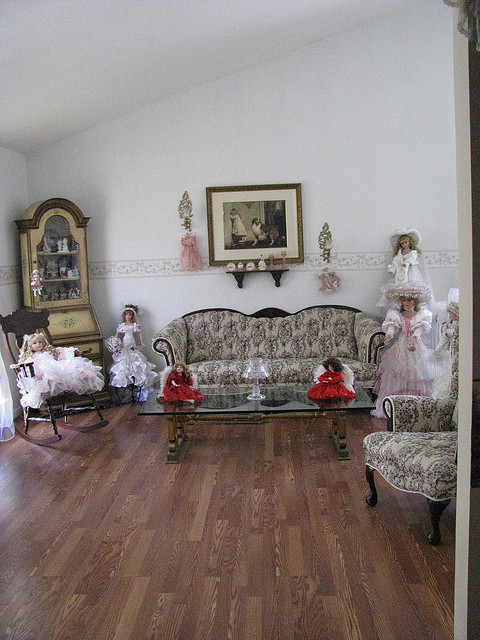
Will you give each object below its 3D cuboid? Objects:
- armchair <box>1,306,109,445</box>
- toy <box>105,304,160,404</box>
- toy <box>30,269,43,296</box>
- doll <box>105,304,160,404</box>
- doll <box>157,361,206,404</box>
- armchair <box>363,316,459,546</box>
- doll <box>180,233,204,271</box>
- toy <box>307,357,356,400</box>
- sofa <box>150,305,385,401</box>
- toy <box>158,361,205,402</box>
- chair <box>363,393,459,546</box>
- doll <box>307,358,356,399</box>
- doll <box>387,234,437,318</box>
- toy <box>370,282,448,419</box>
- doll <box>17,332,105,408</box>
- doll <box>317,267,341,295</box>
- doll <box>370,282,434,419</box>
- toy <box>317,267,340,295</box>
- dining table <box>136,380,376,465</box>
[{"bbox_3d":[-1.703,0.554,4.172,0.862,1.275,0.874,1,9,-7],"label":"armchair"},{"bbox_3d":[-1.178,0.351,4.973,0.594,1.018,0.544,1,2,42],"label":"toy"},{"bbox_3d":[-2.006,-0.384,4.591,0.115,0.262,0.097,-5,5,-35],"label":"toy"},{"bbox_3d":[-1.131,0.392,4.963,0.510,1.297,0.496,-1,11,-7],"label":"doll"},{"bbox_3d":[-0.442,0.477,3.565,0.357,0.305,0.296,-1,1,-12],"label":"doll"},{"bbox_3d":[0.898,0.576,2.494,0.488,0.977,0.893,0,5,24],"label":"armchair"},{"bbox_3d":[-0.529,-0.766,5.026,0.254,0.403,0.164,-2,4,-7],"label":"doll"},{"bbox_3d":[0.685,0.372,3.505,0.401,0.354,0.276,-1,3,12],"label":"toy"},{"bbox_3d":[0.342,0.394,4.768,2.302,0.972,0.750,-2,11,6],"label":"sofa"},{"bbox_3d":[-0.447,0.488,3.585,0.429,0.368,0.267,-1,0,-8],"label":"toy"},{"bbox_3d":[0.897,0.769,2.502,0.484,0.605,0.846,0,5,25],"label":"chair"},{"bbox_3d":[0.677,0.430,3.481,0.354,0.316,0.266,0,3,22],"label":"doll"},{"bbox_3d":[1.739,-0.472,4.779,0.359,0.819,0.418,-5,14,22],"label":"doll"},{"bbox_3d":[1.536,0.253,4.252,0.700,1.211,0.731,7,12,25],"label":"toy"},{"bbox_3d":[-1.526,0.397,3.935,0.652,0.582,0.502,-4,5,-27],"label":"doll"},{"bbox_3d":[0.951,-0.428,4.941,0.224,0.263,0.143,-10,1,8],"label":"doll"},{"bbox_3d":[1.513,0.249,4.210,0.530,1.110,0.641,-2,7,7],"label":"doll"},{"bbox_3d":[0.946,-0.430,4.944,0.221,0.258,0.145,-8,1,9],"label":"toy"},{"bbox_3d":[0.110,0.746,3.551,1.669,0.518,0.783,-2,4,3],"label":"dining table"}]
